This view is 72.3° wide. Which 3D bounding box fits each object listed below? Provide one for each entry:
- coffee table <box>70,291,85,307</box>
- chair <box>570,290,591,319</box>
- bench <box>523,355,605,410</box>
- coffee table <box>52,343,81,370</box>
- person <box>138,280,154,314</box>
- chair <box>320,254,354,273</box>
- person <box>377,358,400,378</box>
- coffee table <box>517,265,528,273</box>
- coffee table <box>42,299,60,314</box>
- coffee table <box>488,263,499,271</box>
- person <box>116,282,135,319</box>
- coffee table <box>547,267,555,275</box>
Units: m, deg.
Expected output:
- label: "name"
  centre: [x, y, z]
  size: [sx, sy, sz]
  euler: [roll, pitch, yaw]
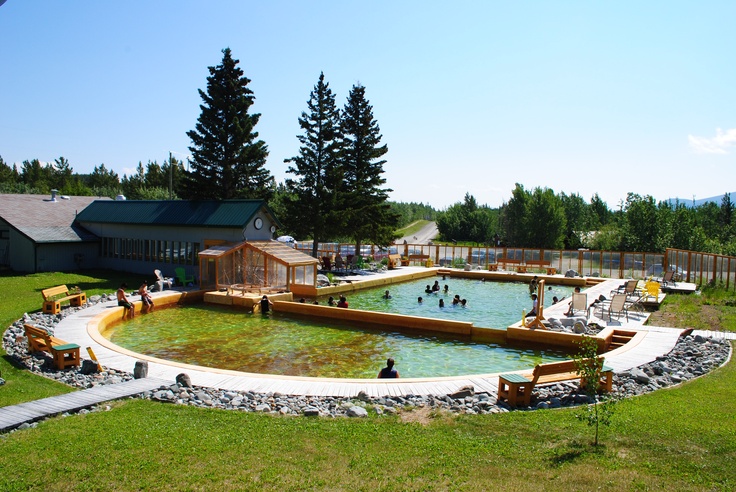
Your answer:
- label: "coffee table"
  centre: [-14.684, 2.685, 25.512]
  size: [0.698, 0.758, 0.723]
  euler: [7, 10, 31]
- label: "chair"
  centre: [10.330, 2.882, 24.538]
  size: [0.885, 1.015, 3.401]
  euler: [3, 7, 24]
- label: "bench"
  centre: [5.957, 3.779, 14.887]
  size: [2.625, 1.432, 1.709]
  euler: [0, 7, -2]
- label: "coffee table"
  centre: [-10.019, 3.642, 16.695]
  size: [0.749, 0.754, 0.747]
  euler: [-4, 8, -36]
- label: "person"
  centre: [-11.774, 2.706, 26.633]
  size: [0.679, 1.396, 1.547]
  euler: [-3, 7, -25]
- label: "chair"
  centre: [-2.607, 1.744, 40.706]
  size: [1.737, 1.134, 1.803]
  euler: [5, 7, 29]
- label: "person"
  centre: [0.668, 4.028, 16.864]
  size: [0.646, 0.673, 1.244]
  euler: [0, 7, 1]
- label: "coffee table"
  centre: [13.175, 2.027, 42.944]
  size: [0.585, 0.459, 0.601]
  euler: [-4, -7, 37]
- label: "coffee table"
  centre: [-14.785, 2.841, 23.478]
  size: [0.744, 0.635, 0.746]
  euler: [-4, 8, -35]
- label: "coffee table"
  centre: [10.933, 1.872, 43.783]
  size: [0.910, 0.553, 0.825]
  euler: [10, -40, 7]
- label: "person"
  centre: [-12.067, 2.790, 25.046]
  size: [0.722, 1.503, 0.580]
  euler: [-3, 7, -28]
- label: "coffee table"
  centre: [15.393, 2.146, 42.154]
  size: [0.524, 0.501, 0.672]
  euler: [-1, -2, 4]
